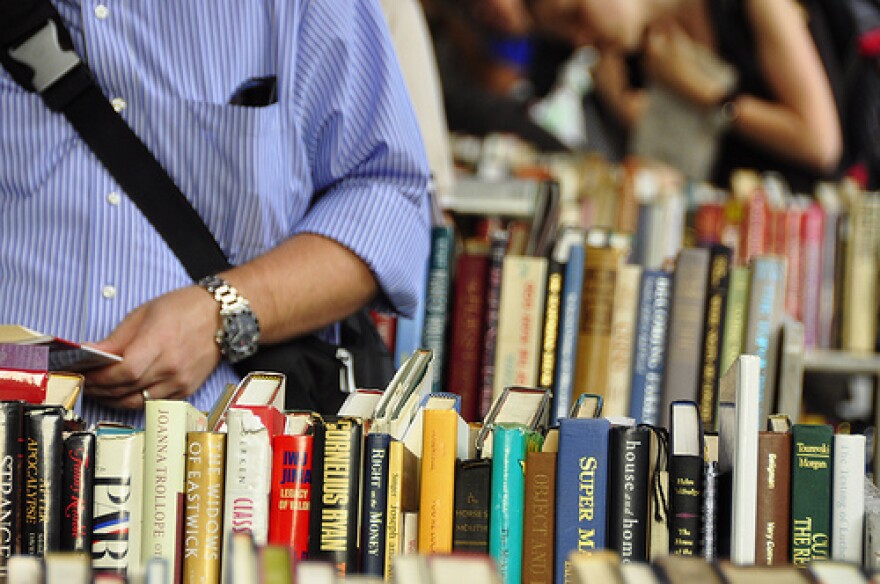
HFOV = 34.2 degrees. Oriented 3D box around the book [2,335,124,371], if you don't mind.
[{"bbox_3d":[-0.777,0.126,2.890,0.251,0.029,0.202,-7,-11,37],"label":"book"}]
